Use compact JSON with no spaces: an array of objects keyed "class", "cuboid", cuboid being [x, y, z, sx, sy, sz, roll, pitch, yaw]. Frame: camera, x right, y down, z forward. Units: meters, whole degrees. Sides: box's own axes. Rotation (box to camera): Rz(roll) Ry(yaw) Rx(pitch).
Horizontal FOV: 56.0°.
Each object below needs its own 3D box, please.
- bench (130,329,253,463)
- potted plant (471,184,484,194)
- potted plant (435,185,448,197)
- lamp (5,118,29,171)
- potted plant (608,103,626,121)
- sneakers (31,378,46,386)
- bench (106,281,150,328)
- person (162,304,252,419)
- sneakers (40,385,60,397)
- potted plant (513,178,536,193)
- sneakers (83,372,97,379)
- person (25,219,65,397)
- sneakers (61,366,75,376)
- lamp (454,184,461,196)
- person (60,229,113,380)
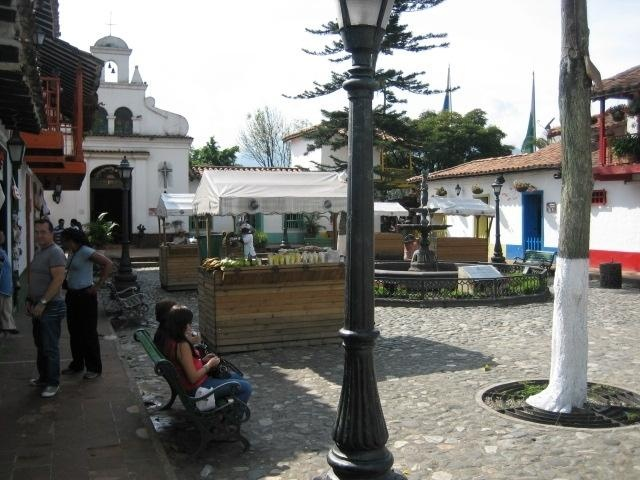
[{"class":"bench","cuboid":[-1.411,1.800,6.744,0.992,1.199,2.193,-5,4,-20]},{"class":"potted plant","cuboid":[7.365,-2.357,28.205,0.515,0.447,0.652,2,5,24]},{"class":"potted plant","cuboid":[6.201,-2.458,30.587,0.435,0.417,0.572,-1,0,6]},{"class":"lamp","cuboid":[-5.792,-1.779,11.572,0.308,0.717,0.772,-3,6,-27]},{"class":"potted plant","cuboid":[9.999,-4.339,20.314,0.558,0.592,1.040,2,6,26]},{"class":"sneakers","cuboid":[-3.720,1.909,8.004,0.173,0.080,0.084,0,-3,21]},{"class":"bench","cuboid":[-3.988,1.354,12.716,1.027,1.100,0.758,0,3,-16]},{"class":"person","cuboid":[-1.249,1.480,6.820,0.823,1.577,0.574,-13,5,-30]},{"class":"sneakers","cuboid":[-3.414,1.935,7.674,0.209,0.115,0.239,-3,6,-26]},{"class":"potted plant","cuboid":[8.347,-2.200,24.850,0.551,0.309,0.574,2,-3,-4]},{"class":"sneakers","cuboid":[-3.169,1.907,8.368,0.166,0.074,0.071,10,-12,-39]},{"class":"person","cuboid":[-3.485,0.864,7.754,0.469,2.236,0.577,-5,7,-43]},{"class":"sneakers","cuboid":[-3.562,1.887,8.579,0.171,0.074,0.091,1,-7,28]},{"class":"lamp","cuboid":[6.826,-2.476,29.823,0.240,0.564,0.559,-1,5,-12]},{"class":"person","cuboid":[-3.282,0.871,8.536,0.609,2.103,0.762,-2,5,-23]}]
